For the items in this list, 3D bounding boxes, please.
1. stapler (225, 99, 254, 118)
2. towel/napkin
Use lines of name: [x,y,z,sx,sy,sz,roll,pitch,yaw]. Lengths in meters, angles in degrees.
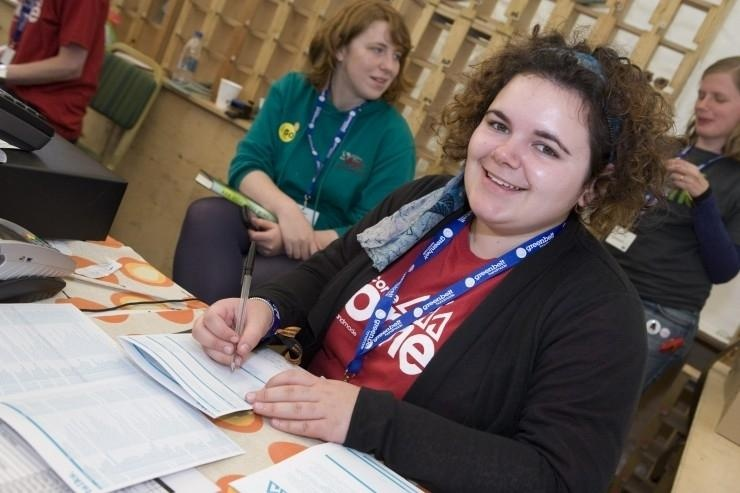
stapler: [-0.708,-0.745,3.120,0.118,0.076,0.119,-4,26,-13]
towel/napkin: [0.147,-0.017,1.734,0.072,0.408,0.174,54,-1,-43]
